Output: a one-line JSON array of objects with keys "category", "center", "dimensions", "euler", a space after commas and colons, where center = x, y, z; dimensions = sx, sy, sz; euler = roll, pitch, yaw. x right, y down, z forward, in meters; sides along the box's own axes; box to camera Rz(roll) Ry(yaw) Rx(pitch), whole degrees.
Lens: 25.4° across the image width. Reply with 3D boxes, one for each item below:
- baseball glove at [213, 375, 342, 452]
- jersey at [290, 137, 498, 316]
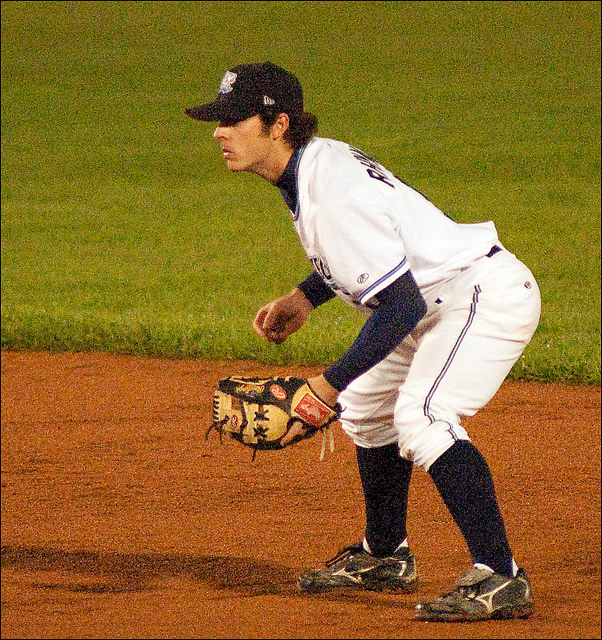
[{"category": "baseball glove", "center": [-0.143, 0.562, 8.220], "dimensions": [0.676, 0.428, 0.296], "euler": [-1, -14, 13]}, {"category": "jersey", "center": [0.531, -0.602, 8.219], "dimensions": [1.163, 0.870, 0.524], "euler": [2, 15, -4]}]
